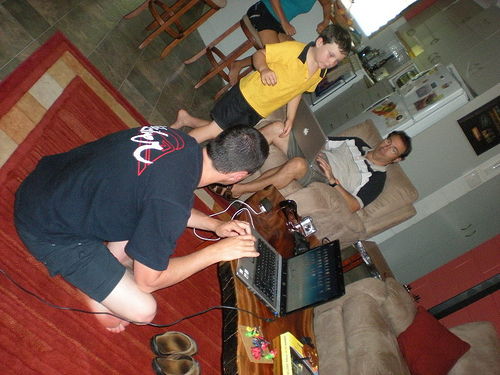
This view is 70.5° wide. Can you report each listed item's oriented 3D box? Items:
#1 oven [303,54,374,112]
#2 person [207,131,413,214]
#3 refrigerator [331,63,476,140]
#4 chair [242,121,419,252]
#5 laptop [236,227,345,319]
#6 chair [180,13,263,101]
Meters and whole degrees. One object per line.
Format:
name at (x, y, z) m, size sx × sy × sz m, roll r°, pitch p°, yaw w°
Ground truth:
oven at (1.115, -1.200, 4.785) m, size 0.814 × 0.540 × 0.627 m, roll -33°, pitch 26°, yaw -6°
person at (0.598, -0.153, 3.456) m, size 1.863 × 0.772 × 0.921 m, roll 1°, pitch 22°, yaw 6°
refrigerator at (1.851, -0.987, 4.153) m, size 0.937 × 0.423 × 0.297 m, roll -26°, pitch -18°, yaw 6°
chair at (0.768, 0.172, 3.361) m, size 1.132 × 1.215 × 0.734 m, roll 3°, pitch -37°, yaw -49°
laptop at (0.211, 0.403, 2.058) m, size 0.338 × 0.524 × 0.508 m, roll -39°, pitch 12°, yaw 23°
chair at (-0.473, -1.620, 4.045) m, size 0.599 × 0.828 × 0.563 m, roll -95°, pitch 30°, yaw -62°
